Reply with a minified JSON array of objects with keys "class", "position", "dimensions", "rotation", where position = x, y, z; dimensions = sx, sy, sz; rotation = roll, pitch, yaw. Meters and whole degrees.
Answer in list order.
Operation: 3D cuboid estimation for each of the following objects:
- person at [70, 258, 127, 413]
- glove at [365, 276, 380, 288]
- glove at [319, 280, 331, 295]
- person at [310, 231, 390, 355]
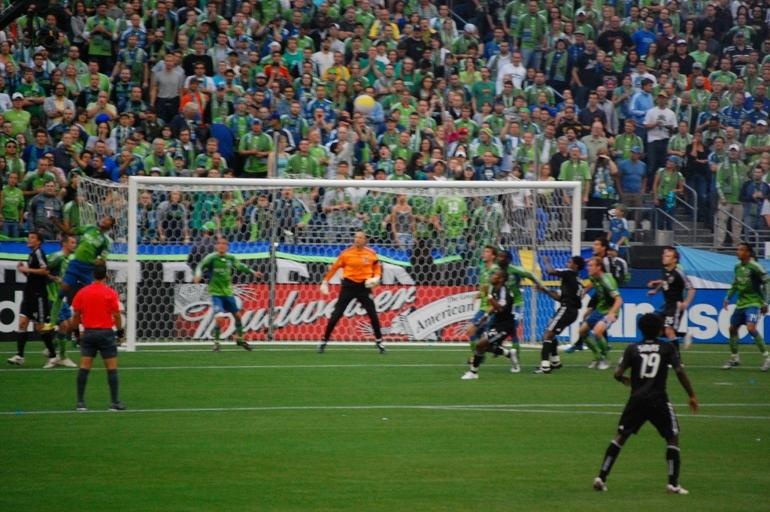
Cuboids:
[{"class":"person","position":[-6.002,1.652,32.759],"dimensions":[1.360,2.744,1.002],"rotation":[2,-2,-23]},{"class":"glove","position":[-0.266,0.620,38.003],"dimensions":[0.323,0.264,0.334],"rotation":[0,-1,-6]},{"class":"glove","position":[-1.430,0.776,37.964],"dimensions":[0.296,0.291,0.116],"rotation":[-2,8,4]},{"class":"person","position":[-0.752,0.852,38.198],"dimensions":[1.481,2.866,0.891],"rotation":[0,-1,0]}]
